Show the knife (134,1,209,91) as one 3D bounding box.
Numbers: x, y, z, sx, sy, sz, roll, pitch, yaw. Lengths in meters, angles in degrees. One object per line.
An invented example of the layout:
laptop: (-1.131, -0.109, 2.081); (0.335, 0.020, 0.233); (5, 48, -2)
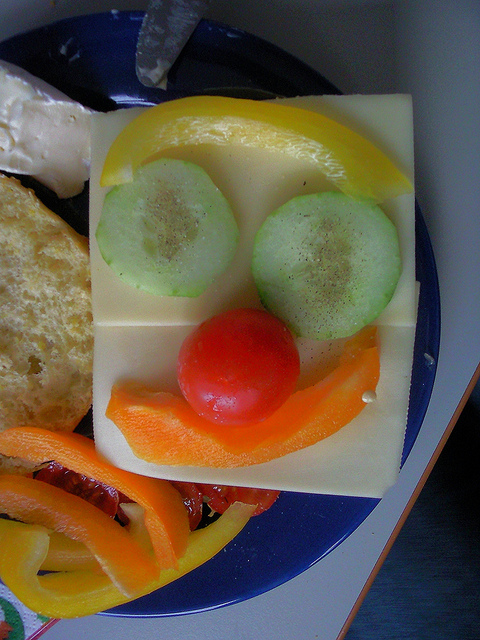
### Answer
knife: (-0.151, -0.577, 1.357); (0.075, 0.012, 0.237); (25, 100, 3)

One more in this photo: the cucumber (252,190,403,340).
cucumber: (0.146, -0.081, 1.208); (0.279, 0.056, 0.258); (35, 88, -2)
